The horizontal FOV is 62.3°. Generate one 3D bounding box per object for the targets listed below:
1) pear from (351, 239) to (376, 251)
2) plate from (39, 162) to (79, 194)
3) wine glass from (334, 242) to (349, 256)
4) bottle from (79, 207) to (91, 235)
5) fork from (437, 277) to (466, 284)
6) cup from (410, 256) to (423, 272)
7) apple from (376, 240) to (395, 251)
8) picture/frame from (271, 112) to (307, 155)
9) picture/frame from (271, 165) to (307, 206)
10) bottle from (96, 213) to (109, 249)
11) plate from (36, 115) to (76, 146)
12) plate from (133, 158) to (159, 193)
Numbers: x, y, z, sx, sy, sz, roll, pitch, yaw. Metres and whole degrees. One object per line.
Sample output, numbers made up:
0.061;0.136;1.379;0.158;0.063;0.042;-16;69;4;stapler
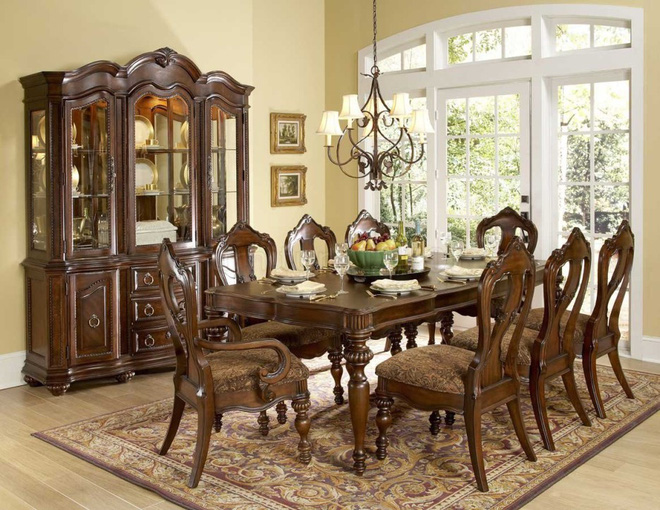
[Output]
0.222;-0.072;3.586;0.129;0.055;0.079;-12;9;-24;pear
-2.014;-0.576;4.139;0.265;0.218;0.250;3;4;16;plate
0.071;-0.042;3.538;0.091;0.078;0.083;0;3;-1;wine glass
-1.879;-0.269;4.178;0.021;0.188;0.080;3;8;33;bottle
0.760;0.159;3.407;0.122;0.017;0.020;9;25;32;fork
0.604;0.059;3.762;0.101;0.099;0.097;1;-2;0;cup
0.356;-0.059;3.512;0.086;0.108;0.083;2;-1;0;apple
-0.485;-1.379;6.133;0.061;0.442;0.583;4;6;44;picture/frame
-0.488;-0.796;6.177;0.069;0.420;0.560;1;3;45;picture/frame
-1.770;-0.193;4.258;0.114;0.284;0.050;-4;7;-25;bottle
-2.080;-0.945;4.146;0.250;0.232;0.053;8;13;18;plate
-1.513;-0.661;4.469;0.033;0.228;0.248;5;21;32;plate
